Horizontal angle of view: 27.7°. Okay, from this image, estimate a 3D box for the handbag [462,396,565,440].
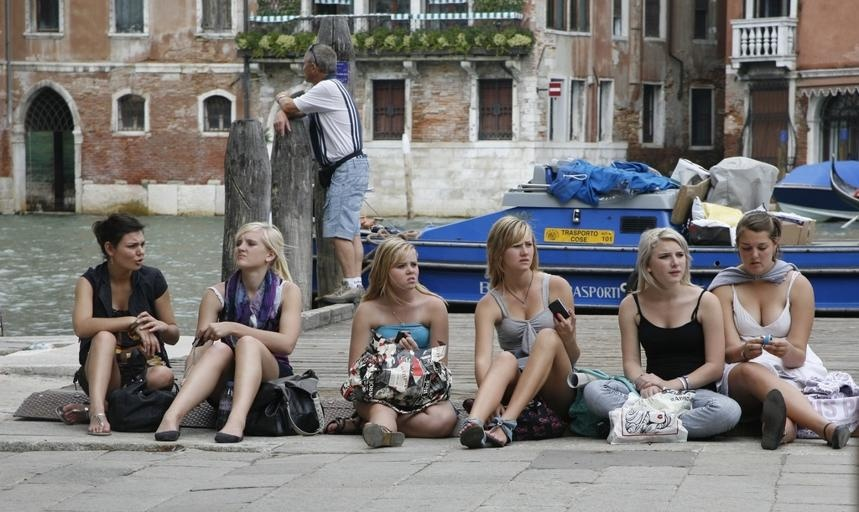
[{"bbox_3d":[1.451,2.514,26.903,1.283,0.637,0.391,-4,-41,-3],"label":"handbag"}]

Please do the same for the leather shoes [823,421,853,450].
[{"bbox_3d":[6.271,2.756,26.529,0.310,0.178,0.493,-20,-10,-11],"label":"leather shoes"}]

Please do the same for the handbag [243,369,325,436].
[{"bbox_3d":[-2.220,2.333,27.142,1.103,0.642,1.061,-2,0,32],"label":"handbag"}]

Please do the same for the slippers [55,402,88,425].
[{"bbox_3d":[-5.570,2.487,27.246,0.717,0.195,0.253,-1,9,-4],"label":"slippers"}]

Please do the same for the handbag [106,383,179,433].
[{"bbox_3d":[-4.474,2.395,27.068,1.026,0.663,0.372,-5,-48,0],"label":"handbag"}]

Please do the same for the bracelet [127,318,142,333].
[{"bbox_3d":[-4.624,1.078,27.216,0.070,0.191,0.208,34,-26,-2],"label":"bracelet"}]

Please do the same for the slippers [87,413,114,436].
[{"bbox_3d":[-5.096,2.622,26.969,0.381,0.270,0.782,1,-4,-12],"label":"slippers"}]

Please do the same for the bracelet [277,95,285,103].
[{"bbox_3d":[-2.626,-2.853,30.814,0.178,0.142,0.062,1,-16,22],"label":"bracelet"}]

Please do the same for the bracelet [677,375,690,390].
[{"bbox_3d":[3.978,1.982,26.995,0.087,0.186,0.157,-4,-21,-7],"label":"bracelet"}]

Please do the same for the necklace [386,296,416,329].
[{"bbox_3d":[-0.429,0.868,27.261,0.351,0.469,0.158,2,-8,-16],"label":"necklace"}]

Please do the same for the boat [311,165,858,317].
[{"bbox_3d":[1.255,-0.292,35.420,16.550,3.596,3.409,1,0,6],"label":"boat"}]

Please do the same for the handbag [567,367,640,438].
[{"bbox_3d":[2.683,2.261,26.713,1.199,0.975,0.461,9,-9,-11],"label":"handbag"}]
